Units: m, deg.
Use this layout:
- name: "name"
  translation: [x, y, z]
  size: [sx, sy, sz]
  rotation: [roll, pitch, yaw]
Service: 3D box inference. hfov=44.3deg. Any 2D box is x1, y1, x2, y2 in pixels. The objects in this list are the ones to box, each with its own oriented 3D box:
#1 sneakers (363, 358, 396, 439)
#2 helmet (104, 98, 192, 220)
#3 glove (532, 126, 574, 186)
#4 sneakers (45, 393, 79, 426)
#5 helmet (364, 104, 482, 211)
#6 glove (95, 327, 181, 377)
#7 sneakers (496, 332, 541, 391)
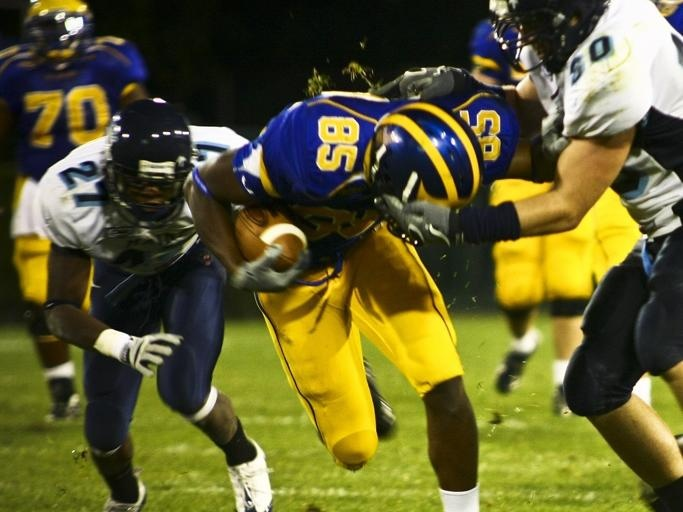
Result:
- name: "sneakers"
  translation: [0.152, 0.590, 3.480]
  size: [0.132, 0.091, 0.440]
  rotation: [14, 17, -6]
- name: "helmet"
  translation: [-0.770, -0.364, 3.349]
  size: [0.331, 0.435, 0.359]
  rotation: [1, -29, -24]
- name: "glove"
  translation: [0.728, -0.345, 2.936]
  size: [0.055, 0.154, 0.116]
  rotation: [16, 10, 42]
- name: "sneakers"
  translation: [-1.505, 0.825, 4.487]
  size: [0.250, 0.172, 0.083]
  rotation: [-3, 2, -11]
- name: "helmet"
  translation: [0.293, -0.329, 2.809]
  size: [0.368, 0.295, 0.279]
  rotation: [12, 38, 40]
- name: "glove"
  translation: [-0.765, 0.382, 3.185]
  size: [0.265, 0.092, 0.175]
  rotation: [8, 33, 4]
- name: "sneakers"
  translation: [1.030, 0.624, 4.885]
  size: [0.127, 0.293, 0.098]
  rotation: [38, -9, -34]
